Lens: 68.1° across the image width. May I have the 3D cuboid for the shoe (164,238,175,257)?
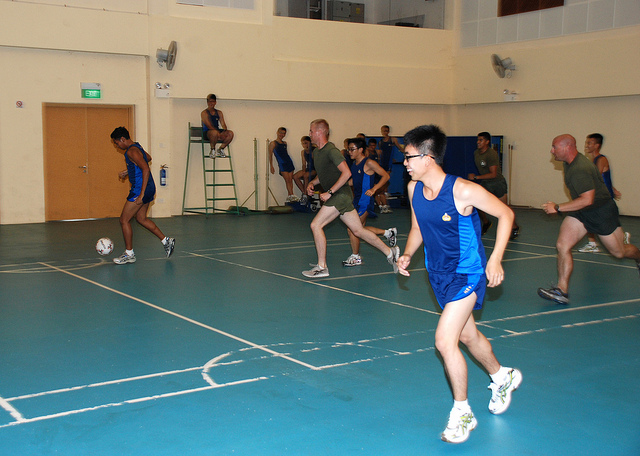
[{"bbox_3d":[-2.892,0.326,9.037,0.164,0.404,0.131,9,24,1],"label":"shoe"}]

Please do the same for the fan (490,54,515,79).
[{"bbox_3d":[6.232,-5.578,16.332,0.769,0.755,0.648,2,7,22],"label":"fan"}]

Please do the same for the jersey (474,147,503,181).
[{"bbox_3d":[3.922,-1.500,11.174,0.582,0.787,0.457,2,7,25],"label":"jersey"}]

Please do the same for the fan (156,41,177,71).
[{"bbox_3d":[-4.693,-5.180,14.163,0.495,0.877,0.828,1,13,-40],"label":"fan"}]

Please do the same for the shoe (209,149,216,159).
[{"bbox_3d":[-3.471,-2.378,15.143,0.202,0.252,0.315,-3,8,-21],"label":"shoe"}]

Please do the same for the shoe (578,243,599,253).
[{"bbox_3d":[5.550,0.417,9.851,0.448,0.228,0.173,0,5,0],"label":"shoe"}]

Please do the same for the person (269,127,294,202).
[{"bbox_3d":[-1.359,-2.185,16.403,0.820,2.453,0.855,-1,7,-3],"label":"person"}]

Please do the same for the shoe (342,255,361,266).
[{"bbox_3d":[0.568,0.606,8.579,0.362,0.204,0.136,-1,3,-15],"label":"shoe"}]

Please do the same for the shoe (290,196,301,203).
[{"bbox_3d":[-0.886,-0.980,16.223,0.358,0.186,0.139,-1,10,0],"label":"shoe"}]

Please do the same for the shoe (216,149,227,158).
[{"bbox_3d":[-3.185,-2.382,15.165,0.398,0.173,0.138,36,61,21],"label":"shoe"}]

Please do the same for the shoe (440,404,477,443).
[{"bbox_3d":[0.974,1.357,3.345,0.122,0.165,0.335,-3,6,36],"label":"shoe"}]

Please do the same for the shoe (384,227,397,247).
[{"bbox_3d":[1.340,0.222,8.875,0.203,0.510,0.166,-10,21,-7],"label":"shoe"}]

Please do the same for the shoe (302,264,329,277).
[{"bbox_3d":[-0.086,0.711,7.840,0.403,0.194,0.183,2,-1,-2],"label":"shoe"}]

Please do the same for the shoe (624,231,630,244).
[{"bbox_3d":[4.528,0.152,7.017,0.075,0.248,0.098,2,-6,37],"label":"shoe"}]

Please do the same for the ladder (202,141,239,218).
[{"bbox_3d":[-3.467,-1.597,15.701,0.930,2.753,0.601,-3,9,-34],"label":"ladder"}]

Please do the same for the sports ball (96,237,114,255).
[{"bbox_3d":[-4.234,0.352,9.257,0.326,0.344,0.341,-4,-25,-2],"label":"sports ball"}]

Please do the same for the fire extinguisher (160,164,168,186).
[{"bbox_3d":[-4.934,-1.635,14.778,0.190,0.643,0.062,-6,8,-38],"label":"fire extinguisher"}]

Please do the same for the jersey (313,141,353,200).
[{"bbox_3d":[0.123,-1.006,7.810,0.221,0.796,0.673,-6,9,-38],"label":"jersey"}]
